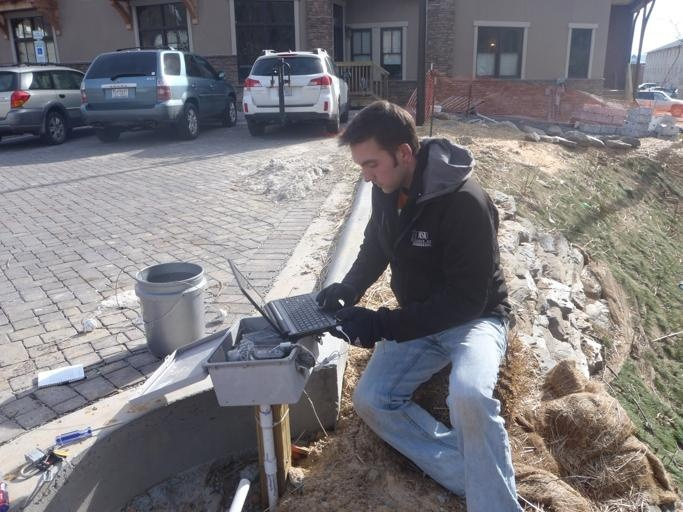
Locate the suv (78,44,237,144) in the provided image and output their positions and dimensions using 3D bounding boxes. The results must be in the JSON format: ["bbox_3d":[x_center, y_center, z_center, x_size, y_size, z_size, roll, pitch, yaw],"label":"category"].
[{"bbox_3d":[-4.719,-4.742,12.814,2.266,1.813,4.275,5,23,10],"label":"suv"}]

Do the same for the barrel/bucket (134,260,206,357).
[{"bbox_3d":[-1.307,0.416,3.494,0.430,0.667,0.419,-2,21,1],"label":"barrel/bucket"}]

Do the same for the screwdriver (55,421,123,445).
[{"bbox_3d":[-1.500,1.061,2.677,0.396,0.072,0.093,-7,10,-35],"label":"screwdriver"}]

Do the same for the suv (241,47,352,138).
[{"bbox_3d":[-1.106,-4.528,12.406,2.489,1.978,5.192,1,21,5],"label":"suv"}]
